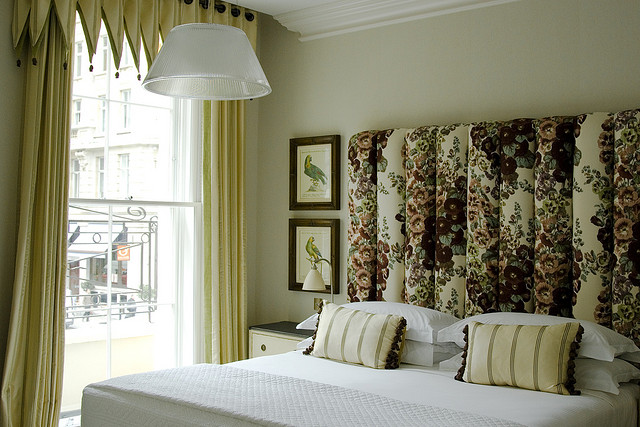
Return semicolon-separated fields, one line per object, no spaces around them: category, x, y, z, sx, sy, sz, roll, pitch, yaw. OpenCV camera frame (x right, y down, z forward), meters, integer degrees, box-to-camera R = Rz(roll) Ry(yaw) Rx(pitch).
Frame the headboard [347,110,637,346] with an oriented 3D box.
headboard;1.350;0.123;4.082;1.780;1.305;0.126;1;-1;36

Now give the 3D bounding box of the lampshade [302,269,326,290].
lampshade;-0.049;0.569;4.713;0.159;0.168;0.162;3;-6;-23

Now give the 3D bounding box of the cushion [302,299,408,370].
cushion;0.271;0.922;4.159;0.783;0.438;0.252;1;-22;34

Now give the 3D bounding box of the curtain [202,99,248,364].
curtain;-0.877;0.154;5.071;0.415;2.417;0.221;-1;3;-22

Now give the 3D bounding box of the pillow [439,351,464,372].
pillow;0.925;1.042;3.870;0.143;0.044;0.128;-21;28;22

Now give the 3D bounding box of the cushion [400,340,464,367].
cushion;0.783;1.013;4.029;0.238;0.088;0.260;1;-1;25

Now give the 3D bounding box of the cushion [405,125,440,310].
cushion;0.805;0.045;4.453;0.302;1.443;0.025;3;5;41

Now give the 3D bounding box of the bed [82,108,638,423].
bed;0.281;0.382;4.211;2.097;1.601;2.122;-5;-8;43

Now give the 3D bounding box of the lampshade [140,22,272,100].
lampshade;-0.657;-0.938;3.270;0.914;0.358;0.925;20;26;40

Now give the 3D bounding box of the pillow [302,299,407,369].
pillow;0.265;0.926;4.161;0.788;0.416;0.248;1;-24;32
